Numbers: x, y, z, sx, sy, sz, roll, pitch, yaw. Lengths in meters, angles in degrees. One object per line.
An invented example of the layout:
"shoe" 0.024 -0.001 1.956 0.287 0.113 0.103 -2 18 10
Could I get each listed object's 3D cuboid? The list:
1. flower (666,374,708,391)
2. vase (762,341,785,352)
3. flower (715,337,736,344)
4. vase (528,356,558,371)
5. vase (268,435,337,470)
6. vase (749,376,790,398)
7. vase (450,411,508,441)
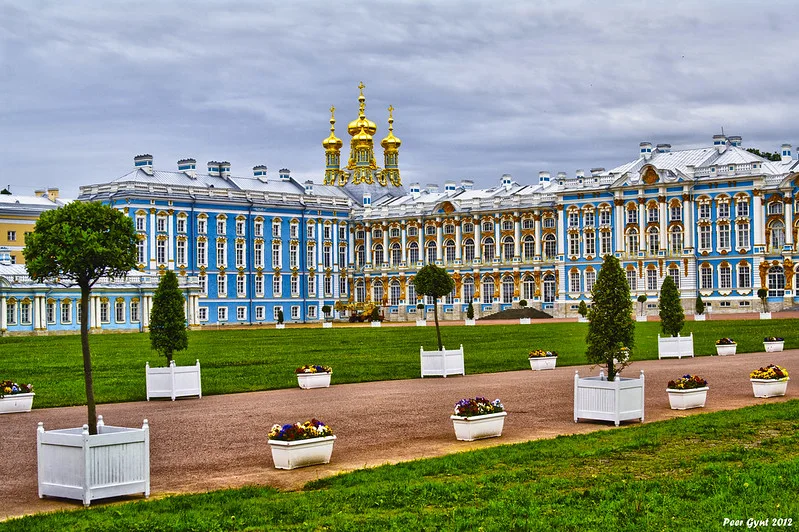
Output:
"flower" 8.340 3.477 43.712 0.895 0.327 0.827 1 -4 -21
"vase" 15.407 3.282 60.598 0.717 0.275 0.445 2 -4 1
"flower" 13.344 3.113 60.690 0.461 0.162 0.536 4 -4 -45
"vase" 5.259 3.560 54.589 0.794 0.522 1.299 -3 0 32
"vase" -2.463 4.733 37.566 1.589 0.841 0.416 -3 0 -17
"vase" 11.379 3.690 45.243 1.108 0.576 0.559 -3 0 -25
"vase" 2.205 4.348 40.131 1.329 0.446 0.693 -1 1 -32
